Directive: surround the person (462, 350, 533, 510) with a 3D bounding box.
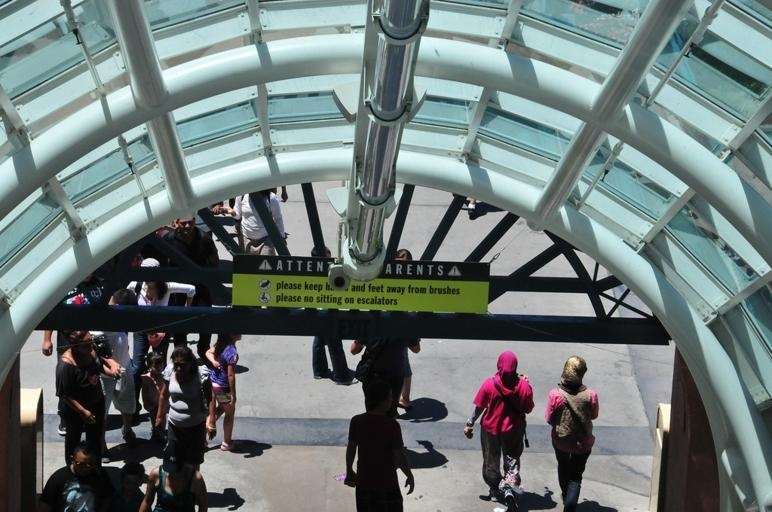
[{"bbox_3d":[1.833,2.794,9.723,0.932,2.415,1.266,0,-17,9],"label":"person"}]

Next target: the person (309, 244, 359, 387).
[{"bbox_3d":[-1.177,1.611,12.517,0.835,0.684,2.023,-7,-62,-1],"label":"person"}]

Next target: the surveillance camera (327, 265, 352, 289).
[{"bbox_3d":[-0.588,0.270,7.795,0.249,0.276,0.414,5,-16,-8],"label":"surveillance camera"}]

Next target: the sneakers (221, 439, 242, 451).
[{"bbox_3d":[-2.728,3.342,10.882,0.301,0.139,0.159,-4,12,-18],"label":"sneakers"}]

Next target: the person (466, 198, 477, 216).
[{"bbox_3d":[2.719,-1.604,19.736,0.361,0.688,0.873,0,-16,8],"label":"person"}]
